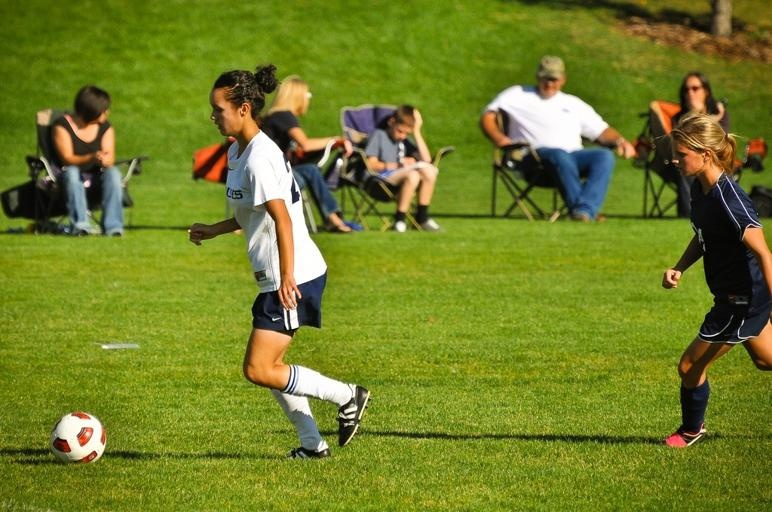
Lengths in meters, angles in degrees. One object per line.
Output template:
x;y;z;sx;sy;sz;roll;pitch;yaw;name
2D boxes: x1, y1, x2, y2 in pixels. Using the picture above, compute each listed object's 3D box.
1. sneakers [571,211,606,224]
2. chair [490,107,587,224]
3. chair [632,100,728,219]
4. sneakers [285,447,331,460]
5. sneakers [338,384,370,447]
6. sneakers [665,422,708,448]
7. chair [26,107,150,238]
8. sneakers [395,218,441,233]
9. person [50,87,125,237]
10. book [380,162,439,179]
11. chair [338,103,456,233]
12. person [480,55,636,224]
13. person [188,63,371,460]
1.989;-0.382;15.574;0.168;0.086;0.240;5;4;33;sneakers
1.603;-0.958;16.074;1.029;1.163;0.831;-1;4;30;chair
3.267;-1.069;18.347;0.814;1.222;0.929;3;21;16;chair
-0.703;1.735;13.964;0.367;0.146;0.132;4;-3;2;sneakers
-0.338;1.412;14.173;0.276;0.593;0.209;13;7;-14;sneakers
2.678;1.600;14.097;0.424;0.164;0.153;-7;1;-11;sneakers
-3.669;-0.885;18.138;1.000;1.244;0.961;-1;-5;-18;chair
0.331;-0.343;17.665;0.514;0.201;0.176;-1;1;12;sneakers
-3.366;-1.061;17.802;0.767;1.700;0.676;-4;9;-23;person
0.282;-0.968;17.996;0.849;0.212;0.209;7;11;39;book
0.436;-1.114;18.629;1.238;1.603;1.613;-1;4;-24;chair
1.689;-1.210;15.817;1.314;1.608;0.587;5;10;31;person
-0.927;0.056;13.911;1.348;3.442;0.559;0;8;-3;person
